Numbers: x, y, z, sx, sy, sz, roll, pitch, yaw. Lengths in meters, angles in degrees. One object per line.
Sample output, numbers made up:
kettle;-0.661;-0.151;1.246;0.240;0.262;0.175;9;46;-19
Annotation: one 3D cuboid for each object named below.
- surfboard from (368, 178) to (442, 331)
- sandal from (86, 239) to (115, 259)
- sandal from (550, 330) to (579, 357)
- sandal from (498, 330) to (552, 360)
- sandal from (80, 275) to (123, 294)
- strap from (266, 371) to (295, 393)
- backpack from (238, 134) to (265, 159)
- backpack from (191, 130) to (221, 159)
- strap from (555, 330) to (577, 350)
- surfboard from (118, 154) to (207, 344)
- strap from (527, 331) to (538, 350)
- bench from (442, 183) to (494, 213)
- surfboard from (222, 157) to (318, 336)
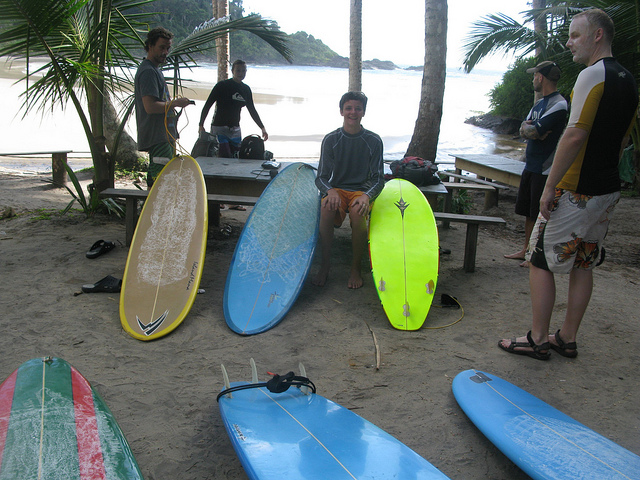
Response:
surfboard;0.686;0.069;3.934;0.543;0.182;1.611;-8;47;12
sandal;-1.934;0.077;4.298;0.091;0.079;0.246;7;18;9
sandal;1.589;0.669;3.235;0.078;0.094;0.227;-10;22;-6
sandal;1.342;0.700;3.236;0.307;0.138;0.131;14;19;30
sandal;-1.680;0.324;3.739;0.361;0.134;0.132;0;14;-5
strap;-0.214;0.769;2.678;0.135;0.069;0.095;-31;70;-25
backpack;-0.843;-1.173;6.265;0.247;0.347;0.329;10;48;-6
backpack;-1.479;-1.230;6.237;0.408;0.329;0.268;-15;24;-42
strap;1.604;0.634;3.207;0.064;0.071;0.184;-3;28;5
surfboard;-1.146;-0.029;3.768;0.555;0.189;1.628;7;51;-18
strap;1.372;0.650;3.149;0.025;0.093;0.053;-26;5;-22
bench;1.900;-0.532;6.268;0.536;0.257;0.272;0;24;-2
surfboard;-0.343;-0.031;3.977;0.611;0.212;1.838;18;44;-6
